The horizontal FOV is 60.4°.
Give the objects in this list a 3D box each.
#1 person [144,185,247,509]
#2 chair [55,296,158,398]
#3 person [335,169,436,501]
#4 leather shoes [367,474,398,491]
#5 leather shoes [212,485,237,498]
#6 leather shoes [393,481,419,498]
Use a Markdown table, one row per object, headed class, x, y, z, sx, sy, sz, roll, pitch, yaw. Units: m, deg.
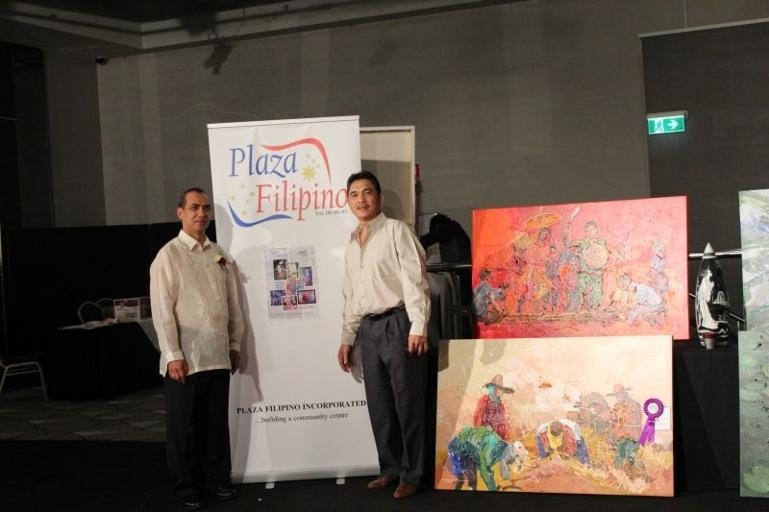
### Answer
| class | x | y | z | sx | sy | sz | roll | pitch | yaw |
| --- | --- | --- | --- | --- | --- | --- | --- | --- | --- |
| person | -1.601 | 0.779 | 5.704 | 0.755 | 2.796 | 0.319 | -2 | 0 | -12 |
| chair | -3.723 | 1.290 | 9.258 | 1.143 | 1.462 | 1.471 | -2 | 2 | 21 |
| person | -0.005 | 0.652 | 5.724 | 0.803 | 2.629 | 0.350 | -2 | 0 | 4 |
| leather shoes | -0.020 | 1.961 | 5.719 | 0.278 | 0.117 | 0.099 | 2 | -4 | -15 |
| leather shoes | -1.384 | 2.035 | 5.715 | 0.164 | 0.061 | 0.099 | -1 | 3 | 8 |
| leather shoes | 0.170 | 1.990 | 5.588 | 0.099 | 0.077 | 0.192 | -8 | -17 | 39 |
